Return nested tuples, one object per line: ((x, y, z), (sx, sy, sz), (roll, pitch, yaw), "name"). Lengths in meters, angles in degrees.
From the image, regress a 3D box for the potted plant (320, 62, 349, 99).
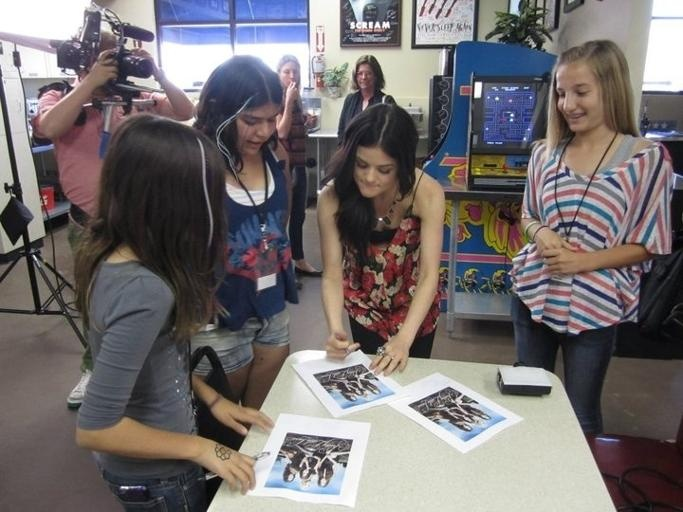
((-0.056, -2.328, 6.889), (0.409, 0.504, 0.403), (1, 12, 6), "potted plant")

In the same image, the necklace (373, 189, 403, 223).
((0.176, -0.184, 1.938), (0.027, 0.105, 0.101), (18, 42, -8), "necklace")

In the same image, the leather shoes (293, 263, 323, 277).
((-0.301, 0.110, 4.455), (0.288, 0.126, 0.100), (4, 11, 26), "leather shoes")

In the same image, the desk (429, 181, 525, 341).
((0.736, -0.056, 3.693), (0.949, 1.036, 0.885), (3, 21, 10), "desk")

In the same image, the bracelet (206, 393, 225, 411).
((-0.380, 0.436, 1.544), (0.036, 0.015, 0.051), (-18, 43, -1), "bracelet")
